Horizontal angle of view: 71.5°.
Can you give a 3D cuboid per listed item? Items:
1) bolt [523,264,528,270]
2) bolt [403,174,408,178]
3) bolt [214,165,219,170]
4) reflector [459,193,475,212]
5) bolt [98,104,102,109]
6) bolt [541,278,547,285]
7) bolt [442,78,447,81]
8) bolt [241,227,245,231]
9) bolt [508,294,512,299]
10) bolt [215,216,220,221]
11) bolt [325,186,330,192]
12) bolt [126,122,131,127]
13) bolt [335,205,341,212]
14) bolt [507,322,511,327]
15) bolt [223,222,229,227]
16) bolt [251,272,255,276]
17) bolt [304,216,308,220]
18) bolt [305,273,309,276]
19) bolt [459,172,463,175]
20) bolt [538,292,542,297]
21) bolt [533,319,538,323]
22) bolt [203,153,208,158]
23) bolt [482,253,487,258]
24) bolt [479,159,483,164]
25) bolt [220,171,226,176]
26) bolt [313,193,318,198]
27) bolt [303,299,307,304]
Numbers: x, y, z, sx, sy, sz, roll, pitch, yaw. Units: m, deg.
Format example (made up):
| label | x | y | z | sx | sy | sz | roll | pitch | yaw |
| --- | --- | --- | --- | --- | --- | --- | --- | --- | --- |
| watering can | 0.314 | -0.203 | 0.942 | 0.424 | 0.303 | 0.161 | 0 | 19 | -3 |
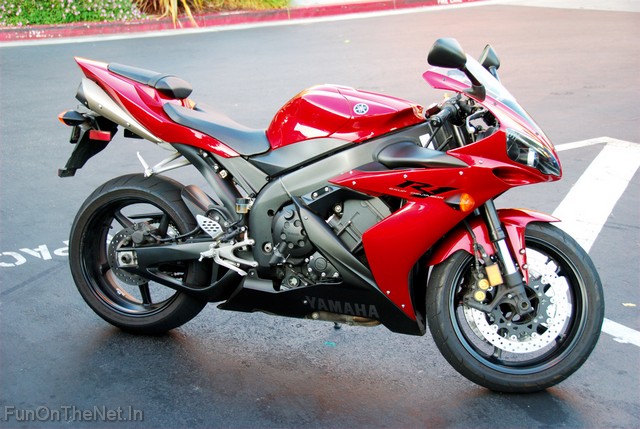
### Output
| label | x | y | z | sx | sy | sz | roll | pitch | yaw |
| --- | --- | --- | --- | --- | --- | --- | --- | --- | --- |
| bolt | 1.370 | 0.350 | 2.972 | 0.041 | 0.036 | 0.009 | 2 | -5 | 10 |
| bolt | 0.560 | -0.252 | 2.913 | 0.030 | 0.026 | 0.007 | 1 | -1 | 5 |
| bolt | -0.788 | -0.355 | 3.380 | 0.031 | 0.028 | 0.007 | 9 | 7 | 3 |
| reflector | 0.942 | -0.076 | 2.909 | 0.108 | 0.094 | 0.108 | 39 | -32 | -30 |
| bolt | -1.756 | -0.867 | 3.558 | 0.026 | 0.032 | 0.009 | -3 | 4 | -3 |
| bolt | 1.538 | 0.460 | 3.058 | 0.039 | 0.034 | 0.009 | 1 | -5 | -3 |
| bolt | 0.806 | -0.873 | 2.871 | 0.027 | 0.012 | 0.018 | 15 | 40 | 27 |
| bolt | -0.574 | 0.108 | 3.317 | 0.035 | 0.031 | 0.010 | 3 | 1 | 3 |
| bolt | 1.276 | 0.551 | 2.993 | 0.035 | 0.032 | 0.011 | -1 | -1 | 43 |
| bolt | -0.793 | 0.030 | 3.440 | 0.037 | 0.033 | 0.010 | 0 | -1 | 23 |
| bolt | 0.051 | -0.176 | 3.087 | 0.032 | 0.033 | 0.027 | 1 | 36 | 10 |
| bolt | -1.508 | -0.710 | 3.503 | 0.023 | 0.028 | 0.007 | -3 | 6 | 4 |
| bolt | 0.128 | -0.041 | 3.125 | 0.040 | 0.036 | 0.012 | -15 | -5 | 9 |
| bolt | 1.297 | 0.753 | 3.054 | 0.031 | 0.029 | 0.007 | 24 | 8 | 12 |
| bolt | -0.715 | 0.074 | 3.393 | 0.034 | 0.007 | 0.031 | -16 | 45 | -15 |
| bolt | -0.502 | 0.441 | 3.328 | 0.031 | 0.028 | 0.010 | 6 | 3 | 10 |
| bolt | -0.097 | 0.024 | 3.115 | 0.024 | 0.021 | 0.005 | 0 | 0 | 3 |
| bolt | -0.094 | 0.433 | 3.220 | 0.026 | 0.023 | 0.006 | 9 | 12 | 36 |
| bolt | 0.896 | -0.263 | 2.822 | 0.023 | 0.020 | 0.005 | 5 | 0 | 14 |
| bolt | 1.501 | 0.548 | 3.035 | 0.026 | 0.023 | 0.016 | -7 | 36 | -1 |
| bolt | 1.474 | 0.730 | 3.046 | 0.031 | 0.027 | 0.007 | -3 | -4 | 17 |
| bolt | -0.874 | -0.453 | 3.390 | 0.040 | 0.033 | 0.010 | 1 | -2 | -2 |
| bolt | 1.101 | 0.274 | 2.966 | 0.028 | 0.028 | 0.018 | -19 | 38 | -18 |
| bolt | 1.017 | -0.334 | 2.808 | 0.020 | 0.021 | 0.021 | -1 | 36 | 7 |
| bolt | -0.735 | -0.312 | 3.382 | 0.038 | 0.031 | 0.009 | 5 | 2 | 6 |
| bolt | -0.031 | -0.135 | 3.106 | 0.032 | 0.023 | 0.018 | -4 | 36 | 3 |
| bolt | -0.108 | 0.634 | 3.239 | 0.039 | 0.033 | 0.011 | 2 | 6 | 11 |
